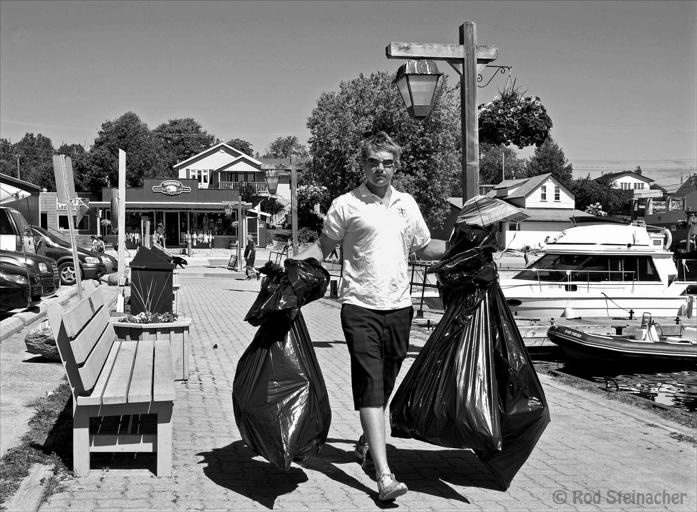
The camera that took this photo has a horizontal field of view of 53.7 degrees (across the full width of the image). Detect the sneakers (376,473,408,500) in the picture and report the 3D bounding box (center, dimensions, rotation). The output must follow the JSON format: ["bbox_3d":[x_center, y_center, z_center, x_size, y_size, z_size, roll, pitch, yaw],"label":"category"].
[{"bbox_3d":[0.333,1.742,5.257,0.122,0.142,0.300,-3,-23,-18],"label":"sneakers"}]

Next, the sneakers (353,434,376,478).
[{"bbox_3d":[0.128,1.709,5.945,0.121,0.152,0.369,0,4,-12],"label":"sneakers"}]

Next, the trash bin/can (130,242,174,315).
[{"bbox_3d":[-2.859,0.274,9.769,0.721,1.348,1.023,0,-3,-11],"label":"trash bin/can"}]

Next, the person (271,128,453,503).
[{"bbox_3d":[0.170,0.405,5.628,1.037,2.847,0.907,2,3,-5],"label":"person"}]
